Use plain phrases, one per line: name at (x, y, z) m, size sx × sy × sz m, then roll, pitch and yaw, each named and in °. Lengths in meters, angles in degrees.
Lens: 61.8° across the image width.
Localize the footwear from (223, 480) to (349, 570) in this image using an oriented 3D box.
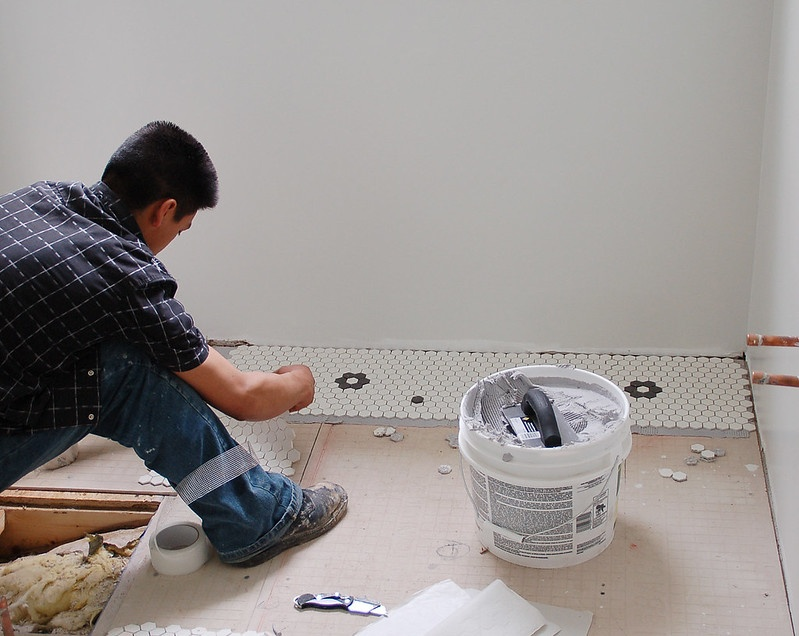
footwear at (-0.260, 0.500, 1.716) m, size 0.329 × 0.134 × 0.121 m, roll -31°, pitch 48°, yaw -31°

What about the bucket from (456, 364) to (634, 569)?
bucket at (0.339, 0.345, 1.591) m, size 0.402 × 0.346 × 0.373 m, roll -3°, pitch 23°, yaw 1°

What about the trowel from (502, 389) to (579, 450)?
trowel at (0.321, 0.217, 1.516) m, size 0.145 × 0.073 × 0.195 m, roll -8°, pitch 18°, yaw -5°

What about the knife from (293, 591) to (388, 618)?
knife at (-0.130, 0.636, 1.485) m, size 0.211 × 0.036 × 0.067 m, roll 2°, pitch 19°, yaw 8°
